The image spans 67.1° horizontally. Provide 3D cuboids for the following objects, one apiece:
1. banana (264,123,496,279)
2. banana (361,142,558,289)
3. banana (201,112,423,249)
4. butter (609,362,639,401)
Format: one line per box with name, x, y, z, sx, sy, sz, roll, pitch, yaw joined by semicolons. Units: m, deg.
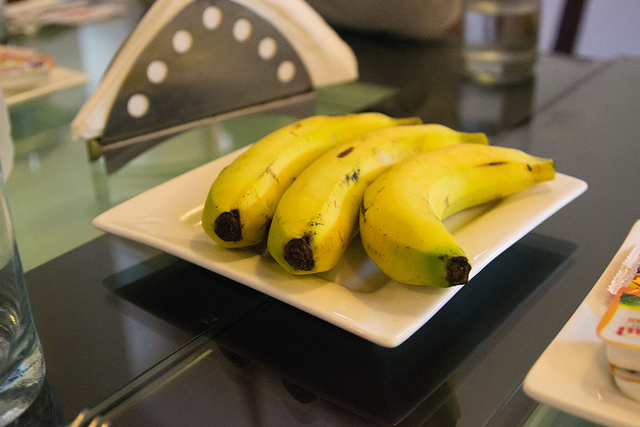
banana;0.057;-0.036;0.503;0.277;0.073;0.106;-33;52;-32
banana;0.126;-0.015;0.480;0.135;0.068;0.247;21;37;39
banana;-0.009;-0.057;0.527;0.103;0.072;0.269;36;52;28
butter;0.211;0.114;0.332;0.022;0.015;0.015;22;40;36
